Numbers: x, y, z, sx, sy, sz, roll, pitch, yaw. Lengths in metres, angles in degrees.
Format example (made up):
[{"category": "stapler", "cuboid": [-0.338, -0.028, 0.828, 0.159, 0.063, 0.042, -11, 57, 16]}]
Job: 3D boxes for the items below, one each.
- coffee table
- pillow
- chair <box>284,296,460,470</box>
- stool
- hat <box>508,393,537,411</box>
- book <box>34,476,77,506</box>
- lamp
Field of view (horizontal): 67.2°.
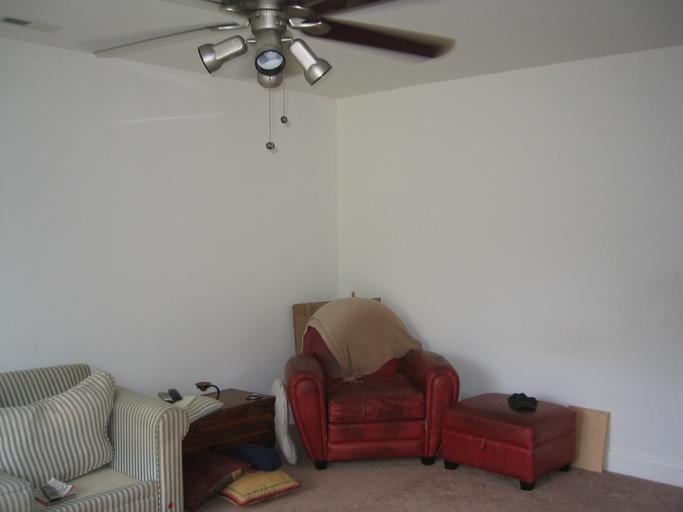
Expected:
[{"category": "coffee table", "cuboid": [-0.829, 1.110, 3.799, 0.357, 0.396, 0.676, -3, -1, 45]}, {"category": "pillow", "cuboid": [-0.746, 1.477, 3.428, 0.430, 0.125, 0.432, -2, 2, -38]}, {"category": "chair", "cuboid": [0.199, 0.895, 4.269, 1.326, 1.101, 1.213, 0, -3, -7]}, {"category": "stool", "cuboid": [1.288, 1.310, 3.761, 0.648, 0.427, 0.673, 6, -5, -41]}, {"category": "hat", "cuboid": [1.348, 1.092, 3.825, 0.114, 0.068, 0.139, 2, 2, 12]}, {"category": "book", "cuboid": [-1.554, 1.265, 2.752, 0.110, 0.043, 0.107, 14, 11, 29]}, {"category": "lamp", "cuboid": [-0.560, -1.358, 3.529, 0.568, 0.287, 0.484, 7, 2, -3]}]
